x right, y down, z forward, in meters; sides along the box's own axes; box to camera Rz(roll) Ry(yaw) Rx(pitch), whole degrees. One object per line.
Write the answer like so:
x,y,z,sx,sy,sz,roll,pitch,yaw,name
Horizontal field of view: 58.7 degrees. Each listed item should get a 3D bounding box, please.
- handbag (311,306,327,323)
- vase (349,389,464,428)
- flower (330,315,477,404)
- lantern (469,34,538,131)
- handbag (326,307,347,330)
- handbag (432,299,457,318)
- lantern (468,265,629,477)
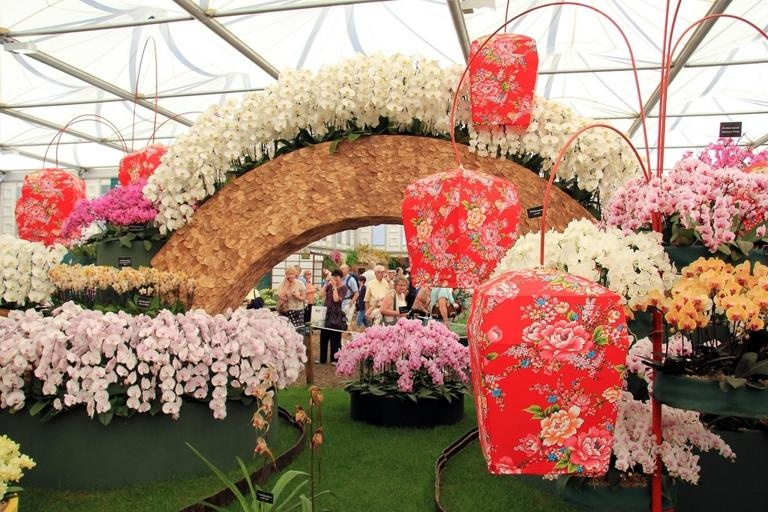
-0.918,0.827,9.463,0.198,0.252,0.355,5,-8,-6,handbag
0.195,1.561,6.877,1.068,0.326,0.299,3,-8,1,vase
0.195,1.087,7.015,0.854,0.578,1.074,-4,-12,32,flower
0.918,-1.419,5.552,0.737,0.950,0.668,0,16,5,lantern
-0.685,0.912,9.608,0.329,0.322,0.298,0,-23,-2,handbag
0.807,0.727,9.437,0.326,0.310,0.153,1,-29,0,handbag
0.767,0.675,4.330,1.212,1.563,1.035,0,-3,-1,lantern
